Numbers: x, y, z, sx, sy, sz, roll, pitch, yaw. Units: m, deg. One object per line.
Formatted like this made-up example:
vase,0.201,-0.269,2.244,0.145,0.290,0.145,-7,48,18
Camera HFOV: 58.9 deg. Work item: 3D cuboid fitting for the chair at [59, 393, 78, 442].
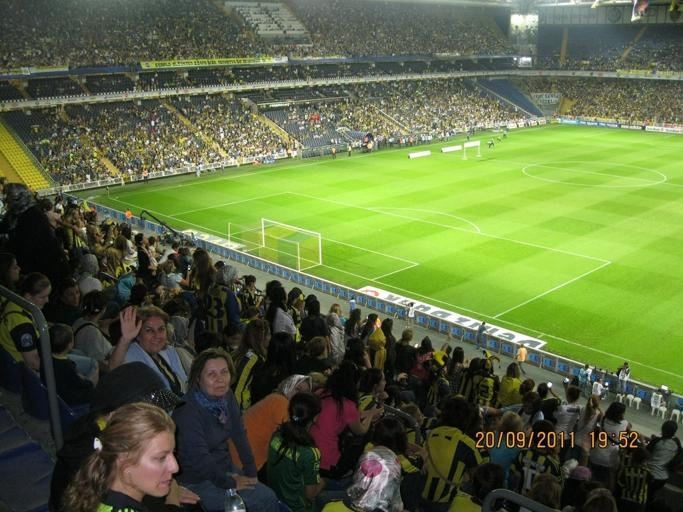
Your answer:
chair,-3.125,1.863,6.934,0.284,0.437,0.285,-3,12,-30

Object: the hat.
hat,-2.070,1.317,6.035,0.631,0.360,0.515,-3,-2,-1
